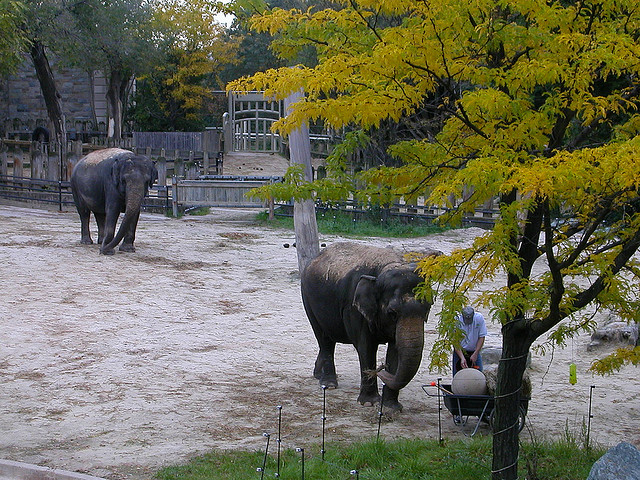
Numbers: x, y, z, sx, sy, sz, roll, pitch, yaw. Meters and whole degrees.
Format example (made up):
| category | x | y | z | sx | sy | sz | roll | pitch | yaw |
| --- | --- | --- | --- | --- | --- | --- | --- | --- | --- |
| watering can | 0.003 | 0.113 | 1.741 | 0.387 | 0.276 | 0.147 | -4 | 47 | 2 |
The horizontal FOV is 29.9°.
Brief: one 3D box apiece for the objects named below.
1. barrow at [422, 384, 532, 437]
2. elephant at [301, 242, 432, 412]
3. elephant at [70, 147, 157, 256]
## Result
| category | x | y | z | sx | sy | sz | roll | pitch | yaw |
| --- | --- | --- | --- | --- | --- | --- | --- | --- | --- |
| barrow | 2.278 | 2.421 | 17.634 | 1.653 | 0.788 | 0.936 | 0 | 5 | -1 |
| elephant | 0.681 | 1.325 | 18.735 | 1.341 | 2.355 | 3.012 | -1 | 6 | -30 |
| elephant | -4.866 | -0.925 | 28.548 | 1.420 | 2.464 | 3.257 | -1 | 4 | -32 |
